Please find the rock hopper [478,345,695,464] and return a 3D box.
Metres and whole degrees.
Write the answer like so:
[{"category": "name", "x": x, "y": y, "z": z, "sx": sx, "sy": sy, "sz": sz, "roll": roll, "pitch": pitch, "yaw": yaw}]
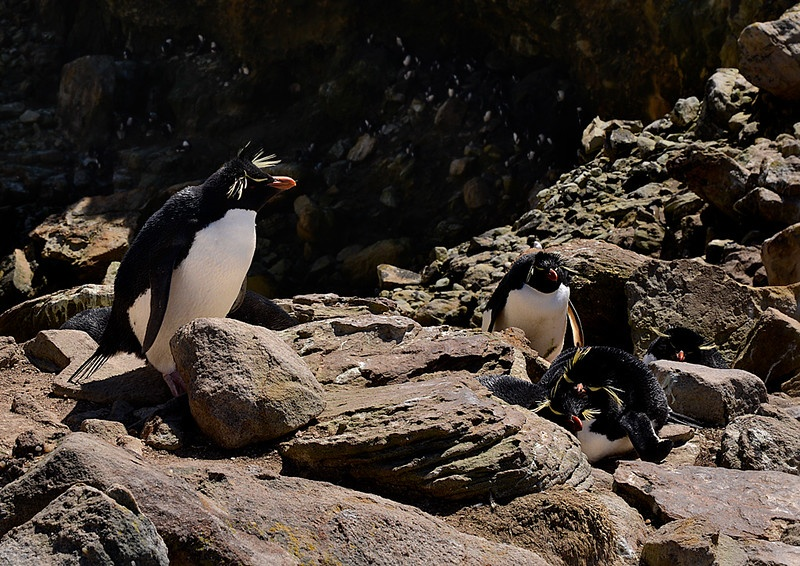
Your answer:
[{"category": "rock hopper", "x": 1.919, "y": 1.154, "z": 9.790, "sx": 1.566, "sy": 0.616, "sz": 1.151, "roll": -3, "pitch": 0, "yaw": -44}]
